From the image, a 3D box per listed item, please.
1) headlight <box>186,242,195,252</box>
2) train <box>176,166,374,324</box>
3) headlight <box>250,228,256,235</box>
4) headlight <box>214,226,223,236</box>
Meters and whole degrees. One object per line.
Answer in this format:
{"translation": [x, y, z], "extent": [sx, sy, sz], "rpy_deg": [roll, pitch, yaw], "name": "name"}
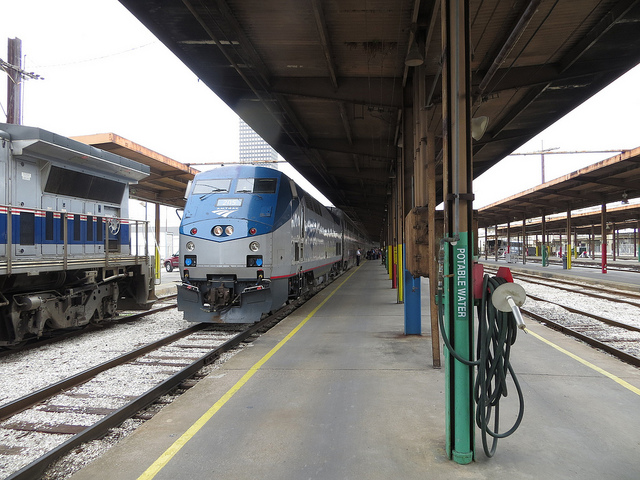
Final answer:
{"translation": [-3.046, 0.153, 10.403], "extent": [0.156, 0.187, 0.042], "rpy_deg": [-1, 1, 17], "name": "headlight"}
{"translation": [-1.451, 0.077, 16.738], "extent": [2.301, 3.796, 13.146], "rpy_deg": [0, 1, 9], "name": "train"}
{"translation": [-1.547, -0.205, 10.293], "extent": [0.113, 0.133, 0.032], "rpy_deg": [3, -8, -12], "name": "headlight"}
{"translation": [-2.353, -0.204, 10.323], "extent": [0.183, 0.216, 0.069], "rpy_deg": [-3, 1, -17], "name": "headlight"}
